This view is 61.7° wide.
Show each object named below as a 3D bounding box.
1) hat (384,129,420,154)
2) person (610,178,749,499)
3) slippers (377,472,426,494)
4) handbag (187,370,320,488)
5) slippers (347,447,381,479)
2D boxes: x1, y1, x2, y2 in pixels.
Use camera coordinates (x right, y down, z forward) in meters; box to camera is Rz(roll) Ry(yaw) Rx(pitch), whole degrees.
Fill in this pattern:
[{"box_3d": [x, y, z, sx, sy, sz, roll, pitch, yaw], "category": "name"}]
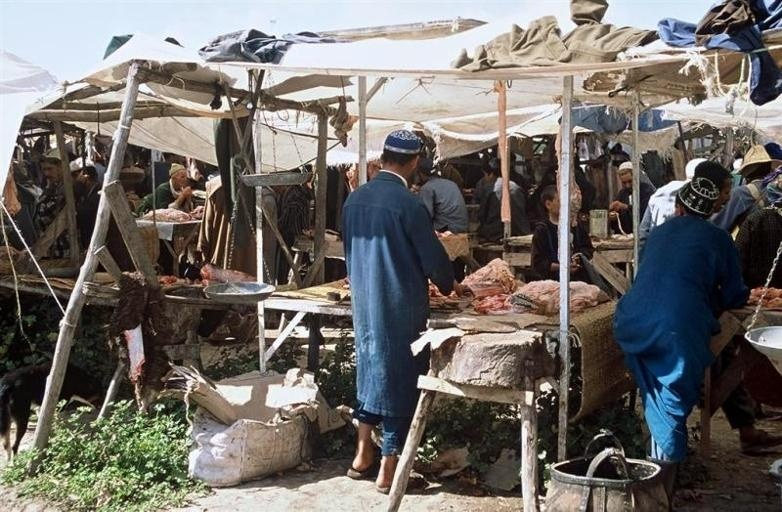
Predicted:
[{"box_3d": [0.091, -1.099, 6.150, 0.265, 0.118, 0.274, 9, 7, 44], "category": "hat"}, {"box_3d": [2.448, 0.659, 5.648, 0.839, 2.646, 0.657, -5, 7, -33], "category": "person"}, {"box_3d": [0.183, 2.171, 6.306, 0.362, 0.093, 0.337, -5, 4, -41], "category": "slippers"}, {"box_3d": [-1.363, 1.735, 6.645, 0.992, 0.792, 1.214, 4, 6, 36], "category": "handbag"}, {"box_3d": [-0.244, 2.109, 6.531, 0.134, 0.272, 0.457, -1, -13, 36], "category": "slippers"}]
